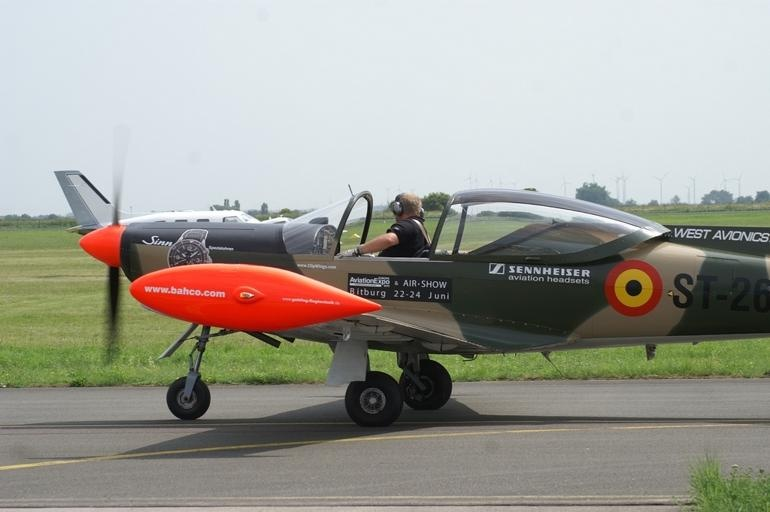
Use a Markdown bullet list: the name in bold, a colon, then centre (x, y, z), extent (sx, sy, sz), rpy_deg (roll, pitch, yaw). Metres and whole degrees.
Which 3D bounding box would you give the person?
- **person**: centre (0.126, -0.421, 11.355), extent (1.035, 0.976, 1.709), rpy_deg (4, 12, 17)
